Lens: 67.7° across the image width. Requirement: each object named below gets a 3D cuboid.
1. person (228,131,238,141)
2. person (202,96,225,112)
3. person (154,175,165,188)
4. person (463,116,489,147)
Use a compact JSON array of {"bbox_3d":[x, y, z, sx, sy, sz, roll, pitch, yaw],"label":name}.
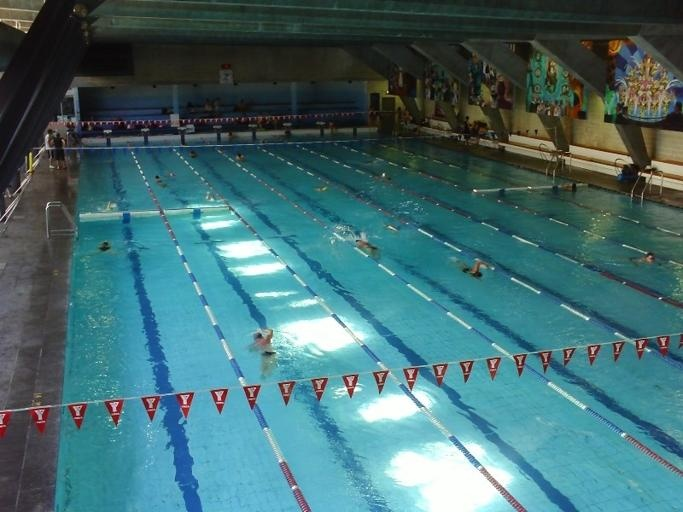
[{"bbox_3d":[-4.352,-4.923,20.801,0.377,0.343,0.940,-4,17,-11],"label":"person"},{"bbox_3d":[-5.846,-7.024,23.654,0.856,0.718,1.112,-3,17,-7],"label":"person"},{"bbox_3d":[-4.561,-1.946,13.038,0.213,0.252,0.871,-7,17,-21],"label":"person"},{"bbox_3d":[4.793,-4.513,18.504,0.686,0.767,1.121,-9,19,-25],"label":"person"}]
